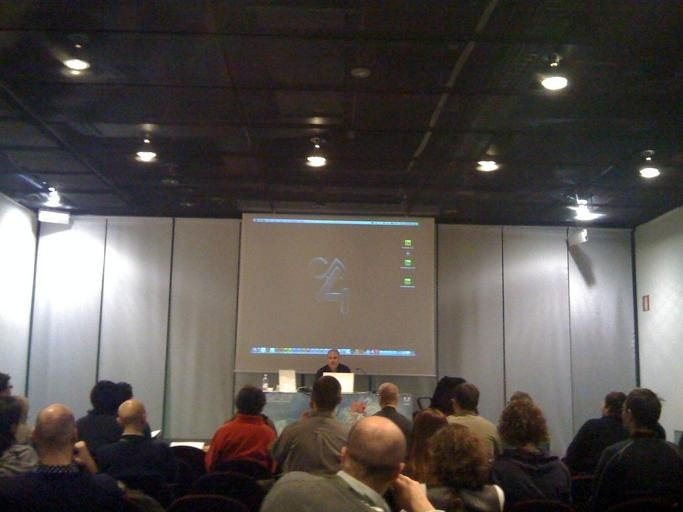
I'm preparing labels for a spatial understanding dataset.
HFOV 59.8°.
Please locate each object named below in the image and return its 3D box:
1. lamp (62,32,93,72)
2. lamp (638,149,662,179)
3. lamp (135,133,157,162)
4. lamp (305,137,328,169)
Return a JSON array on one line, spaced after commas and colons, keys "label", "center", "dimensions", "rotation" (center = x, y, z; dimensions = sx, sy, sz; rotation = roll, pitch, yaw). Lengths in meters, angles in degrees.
[{"label": "lamp", "center": [-2.335, -1.787, 5.211], "dimensions": [0.223, 0.249, 0.225], "rotation": [-3, -11, 7]}, {"label": "lamp", "center": [3.569, -1.054, 6.849], "dimensions": [0.268, 0.300, 0.294], "rotation": [-1, -10, 9]}, {"label": "lamp", "center": [-2.267, -1.253, 6.849], "dimensions": [0.231, 0.233, 0.221], "rotation": [-6, -9, 22]}, {"label": "lamp", "center": [-0.291, -1.137, 6.761], "dimensions": [0.222, 0.230, 0.219], "rotation": [1, -16, -5]}]
